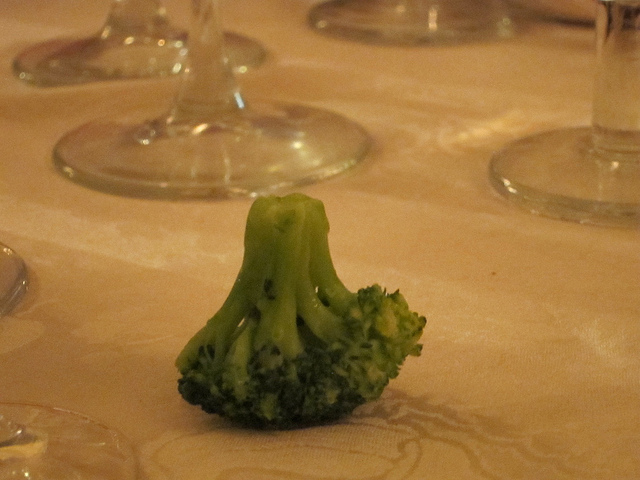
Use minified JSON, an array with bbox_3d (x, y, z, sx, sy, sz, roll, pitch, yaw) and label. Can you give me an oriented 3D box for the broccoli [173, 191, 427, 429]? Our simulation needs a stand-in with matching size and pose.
[{"bbox_3d":[-0.034,0.069,0.777,0.223,0.212,0.285,-8,0,-43],"label":"broccoli"}]
